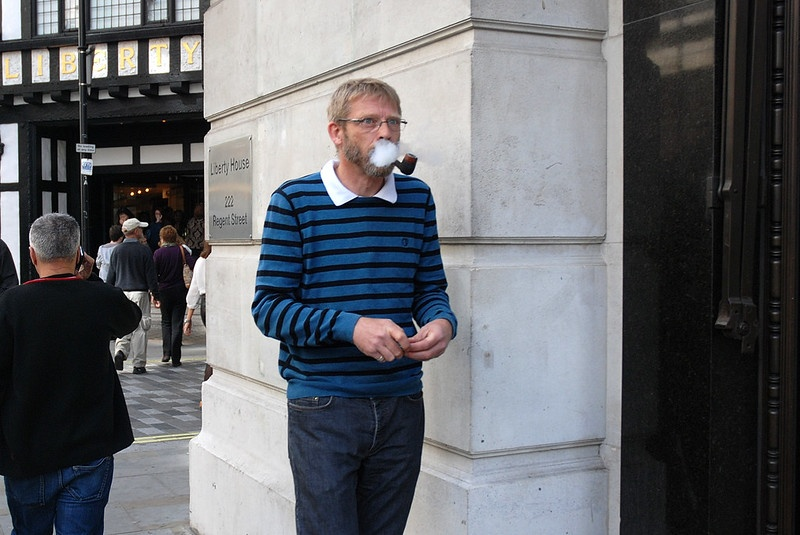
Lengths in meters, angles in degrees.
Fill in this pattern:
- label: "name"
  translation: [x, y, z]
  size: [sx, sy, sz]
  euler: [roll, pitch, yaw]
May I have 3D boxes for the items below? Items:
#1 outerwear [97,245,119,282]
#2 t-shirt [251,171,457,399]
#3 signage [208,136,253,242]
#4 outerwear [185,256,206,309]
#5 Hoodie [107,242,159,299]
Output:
- label: "outerwear"
  translation: [-3.606, -0.034, 12.065]
  size: [0.298, 0.534, 0.389]
  euler: [1, 8, -4]
- label: "t-shirt"
  translation: [-0.162, 0.078, 4.273]
  size: [1.018, 1.115, 0.600]
  euler: [1, -3, -25]
- label: "signage"
  translation: [-1.080, -0.496, 6.283]
  size: [0.033, 0.693, 0.693]
  euler: [0, 1, -30]
- label: "outerwear"
  translation: [-2.520, 0.221, 12.017]
  size: [0.199, 0.560, 0.418]
  euler: [17, 20, 16]
- label: "Hoodie"
  translation: [-3.103, 0.063, 11.358]
  size: [0.649, 0.837, 0.340]
  euler: [2, 3, -15]
